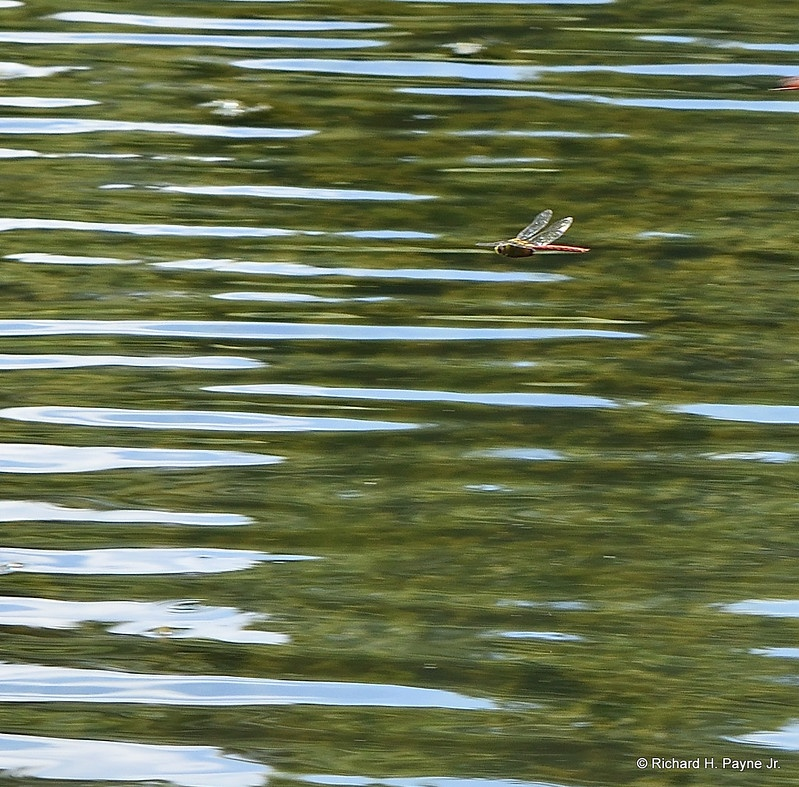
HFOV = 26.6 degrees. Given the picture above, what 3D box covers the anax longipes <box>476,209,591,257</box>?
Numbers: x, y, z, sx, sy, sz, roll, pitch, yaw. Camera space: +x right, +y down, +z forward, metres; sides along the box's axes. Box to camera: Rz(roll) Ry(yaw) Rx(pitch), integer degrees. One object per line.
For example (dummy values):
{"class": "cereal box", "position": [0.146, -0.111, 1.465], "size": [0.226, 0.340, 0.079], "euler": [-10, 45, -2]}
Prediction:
{"class": "anax longipes", "position": [0.450, -0.616, 6.111], "size": [0.360, 0.052, 0.263], "euler": [-22, 23, -38]}
